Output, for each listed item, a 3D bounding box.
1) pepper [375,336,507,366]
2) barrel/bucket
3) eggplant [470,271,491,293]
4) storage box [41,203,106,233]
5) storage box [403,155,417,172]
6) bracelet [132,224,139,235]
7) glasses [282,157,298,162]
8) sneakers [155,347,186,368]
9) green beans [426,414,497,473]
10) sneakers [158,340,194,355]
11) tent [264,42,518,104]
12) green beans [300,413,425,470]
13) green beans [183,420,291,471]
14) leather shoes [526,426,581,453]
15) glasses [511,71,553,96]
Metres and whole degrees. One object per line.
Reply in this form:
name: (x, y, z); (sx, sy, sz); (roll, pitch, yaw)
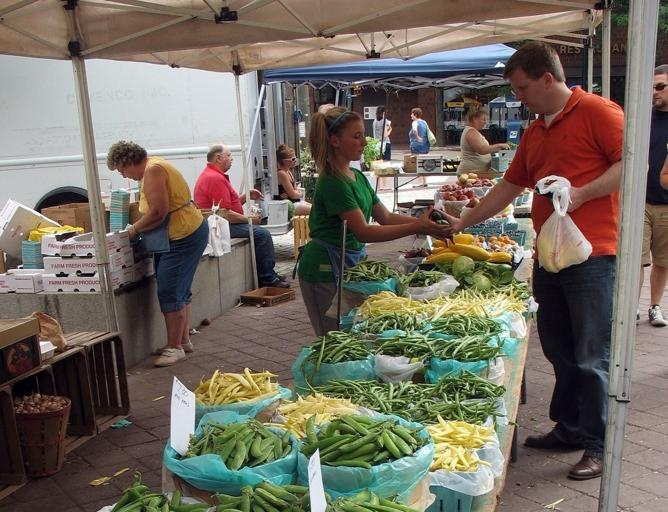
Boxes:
pepper: (0.579, 0.489, 2.675); (0.460, 0.072, 0.229); (0, 0, 0)
barrel/bucket: (-2.235, 1.368, 3.848); (0.394, 0.571, 0.307); (-12, 17, -27)
eggplant: (1.115, 0.194, 3.764); (0.136, 0.059, 0.136); (3, 45, -5)
storage box: (-3.232, -0.464, 6.123); (0.664, 0.305, 0.579); (1, 7, 9)
storage box: (1.726, -2.120, 11.385); (0.444, 0.324, 0.385); (0, 0, 1)
bracelet: (-2.205, -0.305, 5.484); (0.034, 0.093, 0.111); (6, -5, -27)
glasses: (-0.900, -1.953, 9.954); (0.216, 0.049, 0.188); (-4, 6, 4)
sneakers: (-1.914, 1.157, 5.764); (0.170, 0.123, 0.361); (3, 2, 35)
green beans: (0.520, 0.763, 2.021); (0.279, 0.095, 0.302); (-1, 12, 11)
sneakers: (-1.909, 1.145, 6.138); (0.189, 0.172, 0.491); (3, 0, 27)
tent: (1.334, -3.732, 9.914); (3.315, 0.776, 3.199); (0, 4, 30)
green beans: (0.127, 0.660, 1.794); (0.206, 0.081, 0.264); (13, 16, 39)
green beans: (-0.344, 0.700, 1.866); (0.210, 0.071, 0.198); (2, 3, -1)
leather shoes: (1.691, 1.430, 3.916); (0.499, 0.159, 0.146); (2, -1, 9)
glasses: (1.308, -1.127, 3.274); (0.189, 0.182, 0.169); (12, -14, -40)
